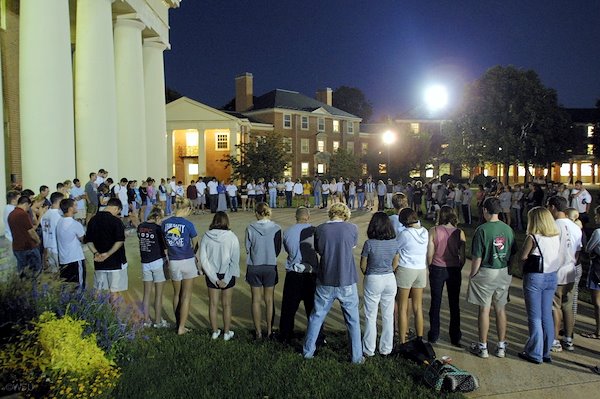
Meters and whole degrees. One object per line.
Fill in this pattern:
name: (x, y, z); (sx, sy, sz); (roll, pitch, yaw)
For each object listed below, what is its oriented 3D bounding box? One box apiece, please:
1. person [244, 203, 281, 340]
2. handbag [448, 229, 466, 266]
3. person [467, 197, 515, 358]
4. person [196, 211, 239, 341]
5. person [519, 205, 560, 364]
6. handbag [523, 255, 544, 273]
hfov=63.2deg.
person: (-0.783, 1.528, 10.545); (0.761, 2.888, 0.424); (1, 5, -4)
handbag: (3.413, 1.027, 10.384); (0.237, 0.749, 0.497); (1, -4, 27)
person: (3.918, 1.574, 9.964); (0.902, 3.237, 0.509); (2, 5, 9)
person: (-1.737, 1.607, 10.573); (0.825, 2.712, 0.801); (0, 5, -14)
person: (4.801, 1.705, 9.820); (0.701, 3.084, 0.524); (3, 5, 20)
handbag: (4.684, 1.276, 9.747); (0.298, 0.333, 0.135); (4, 7, 36)
